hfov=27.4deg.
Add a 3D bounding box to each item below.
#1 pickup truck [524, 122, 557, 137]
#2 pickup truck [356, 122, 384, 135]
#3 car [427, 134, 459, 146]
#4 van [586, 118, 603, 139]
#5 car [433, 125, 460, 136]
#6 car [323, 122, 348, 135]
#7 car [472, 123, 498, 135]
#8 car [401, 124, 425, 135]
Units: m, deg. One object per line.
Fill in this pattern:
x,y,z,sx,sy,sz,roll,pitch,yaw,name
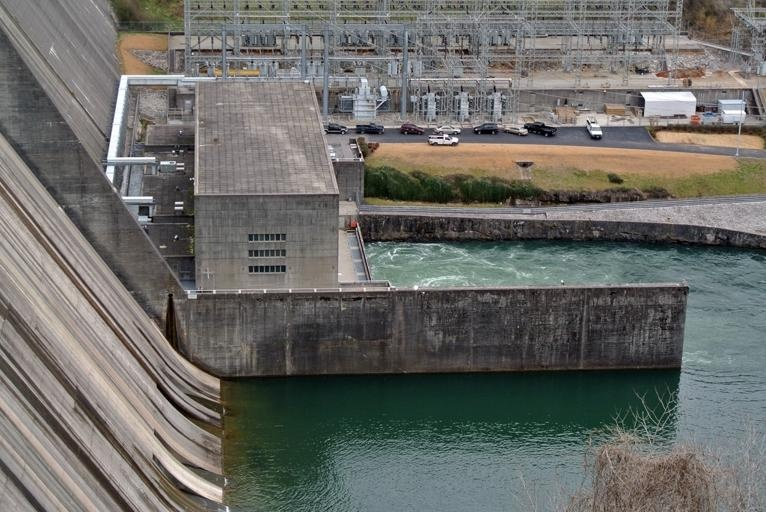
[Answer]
13.507,-10.838,133.607,2.136,0.687,1.222,16,33,28,pickup truck
-1.021,-10.758,132.374,1.935,0.658,1.015,-1,33,0,pickup truck
5.089,-9.619,130.322,2.227,0.750,1.091,-2,23,1,car
18.117,-10.855,134.164,0.892,0.866,2.440,-2,26,3,van
5.543,-10.651,132.826,2.066,0.655,0.924,-2,25,-1,car
-3.961,-10.546,131.027,2.306,0.821,1.127,-1,39,-1,car
8.856,-10.854,133.674,1.627,0.726,0.975,3,26,-2,car
2.505,-10.702,132.945,1.532,0.659,0.824,-2,30,1,car
